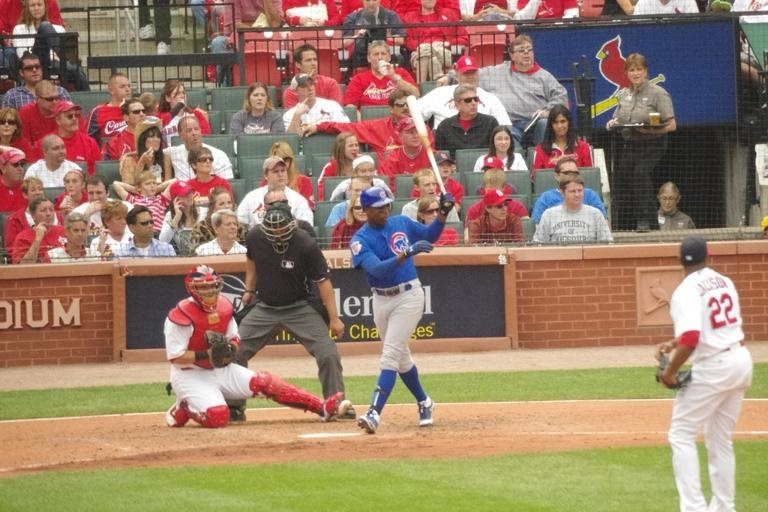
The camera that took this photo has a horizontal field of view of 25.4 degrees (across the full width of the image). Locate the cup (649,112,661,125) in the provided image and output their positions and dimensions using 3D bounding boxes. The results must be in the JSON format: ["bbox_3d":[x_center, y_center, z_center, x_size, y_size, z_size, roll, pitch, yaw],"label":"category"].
[{"bbox_3d":[4.751,-2.400,29.813,0.201,0.225,0.233,-3,4,9],"label":"cup"}]

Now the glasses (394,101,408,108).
[{"bbox_3d":[0.314,-2.687,30.079,0.120,0.124,0.305,-6,5,-35],"label":"glasses"}]

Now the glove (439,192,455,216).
[{"bbox_3d":[0.916,-0.777,24.917,0.240,0.305,0.111,8,-12,9],"label":"glove"}]

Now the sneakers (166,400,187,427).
[{"bbox_3d":[-3.077,2.339,25.379,0.181,0.250,0.403,-29,-20,-54],"label":"sneakers"}]

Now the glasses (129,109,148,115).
[{"bbox_3d":[-4.386,-2.579,30.191,0.270,0.106,0.133,-5,4,-26],"label":"glasses"}]

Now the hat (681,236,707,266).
[{"bbox_3d":[4.154,-0.131,22.902,0.286,0.414,0.238,1,-38,17],"label":"hat"}]

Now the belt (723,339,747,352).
[{"bbox_3d":[4.684,1.236,22.751,0.245,0.094,0.199,-34,-9,35],"label":"belt"}]

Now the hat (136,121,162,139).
[{"bbox_3d":[-4.107,-2.222,29.518,0.454,0.298,0.384,-4,4,-9],"label":"hat"}]

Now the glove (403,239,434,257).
[{"bbox_3d":[0.505,-0.129,24.778,0.381,0.204,0.571,-3,4,3],"label":"glove"}]

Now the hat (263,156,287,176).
[{"bbox_3d":[-1.827,-1.506,28.194,0.342,0.312,0.412,-4,4,-6],"label":"hat"}]

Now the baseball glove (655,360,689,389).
[{"bbox_3d":[3.891,1.632,22.830,0.331,0.431,0.214,22,-3,25],"label":"baseball glove"}]

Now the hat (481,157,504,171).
[{"bbox_3d":[1.863,-1.615,29.473,0.226,0.173,0.308,0,-10,27],"label":"hat"}]

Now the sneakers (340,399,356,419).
[{"bbox_3d":[-0.556,2.249,25.402,0.135,0.268,0.395,-3,-27,-6],"label":"sneakers"}]

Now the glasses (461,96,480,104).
[{"bbox_3d":[1.540,-2.752,30.004,0.307,0.125,0.151,-6,5,-38],"label":"glasses"}]

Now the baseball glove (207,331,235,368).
[{"bbox_3d":[-2.398,1.356,25.037,0.426,0.513,0.242,-10,11,-30],"label":"baseball glove"}]

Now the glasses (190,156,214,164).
[{"bbox_3d":[-3.130,-1.652,29.073,0.361,0.124,0.157,-4,4,-11],"label":"glasses"}]

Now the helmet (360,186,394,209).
[{"bbox_3d":[-0.152,-0.861,24.812,0.291,0.182,0.371,-9,5,-35],"label":"helmet"}]

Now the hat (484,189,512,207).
[{"bbox_3d":[1.864,-0.987,28.455,0.432,0.289,0.390,-3,4,3],"label":"hat"}]

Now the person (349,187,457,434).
[{"bbox_3d":[0.215,0.739,24.976,1.437,3.558,0.859,-4,4,-5],"label":"person"}]
